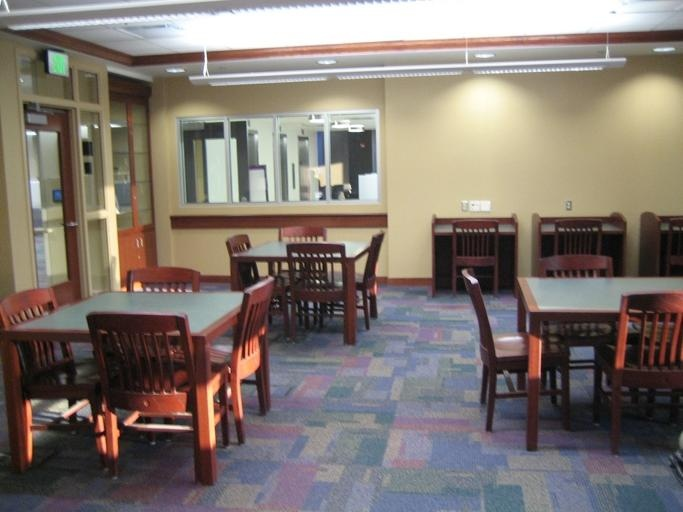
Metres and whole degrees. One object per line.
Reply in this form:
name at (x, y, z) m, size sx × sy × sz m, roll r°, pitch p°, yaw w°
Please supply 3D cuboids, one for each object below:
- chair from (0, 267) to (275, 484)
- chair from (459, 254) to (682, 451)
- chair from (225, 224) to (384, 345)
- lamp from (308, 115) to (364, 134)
chair at (-1.299, 0.696, 3.427) m, size 1.176 × 0.778 × 1.143 m, roll 1°, pitch 9°, yaw 9°
chair at (1.574, 0.662, 3.696) m, size 1.396 × 0.896 × 1.170 m, roll -2°, pitch 9°, yaw 0°
chair at (-0.130, 0.249, 5.724) m, size 1.178 × 0.860 × 1.369 m, roll 0°, pitch 9°, yaw 8°
lamp at (-0.043, -1.929, 7.825) m, size 0.598 × 0.106 × 0.348 m, roll 8°, pitch 9°, yaw 7°
